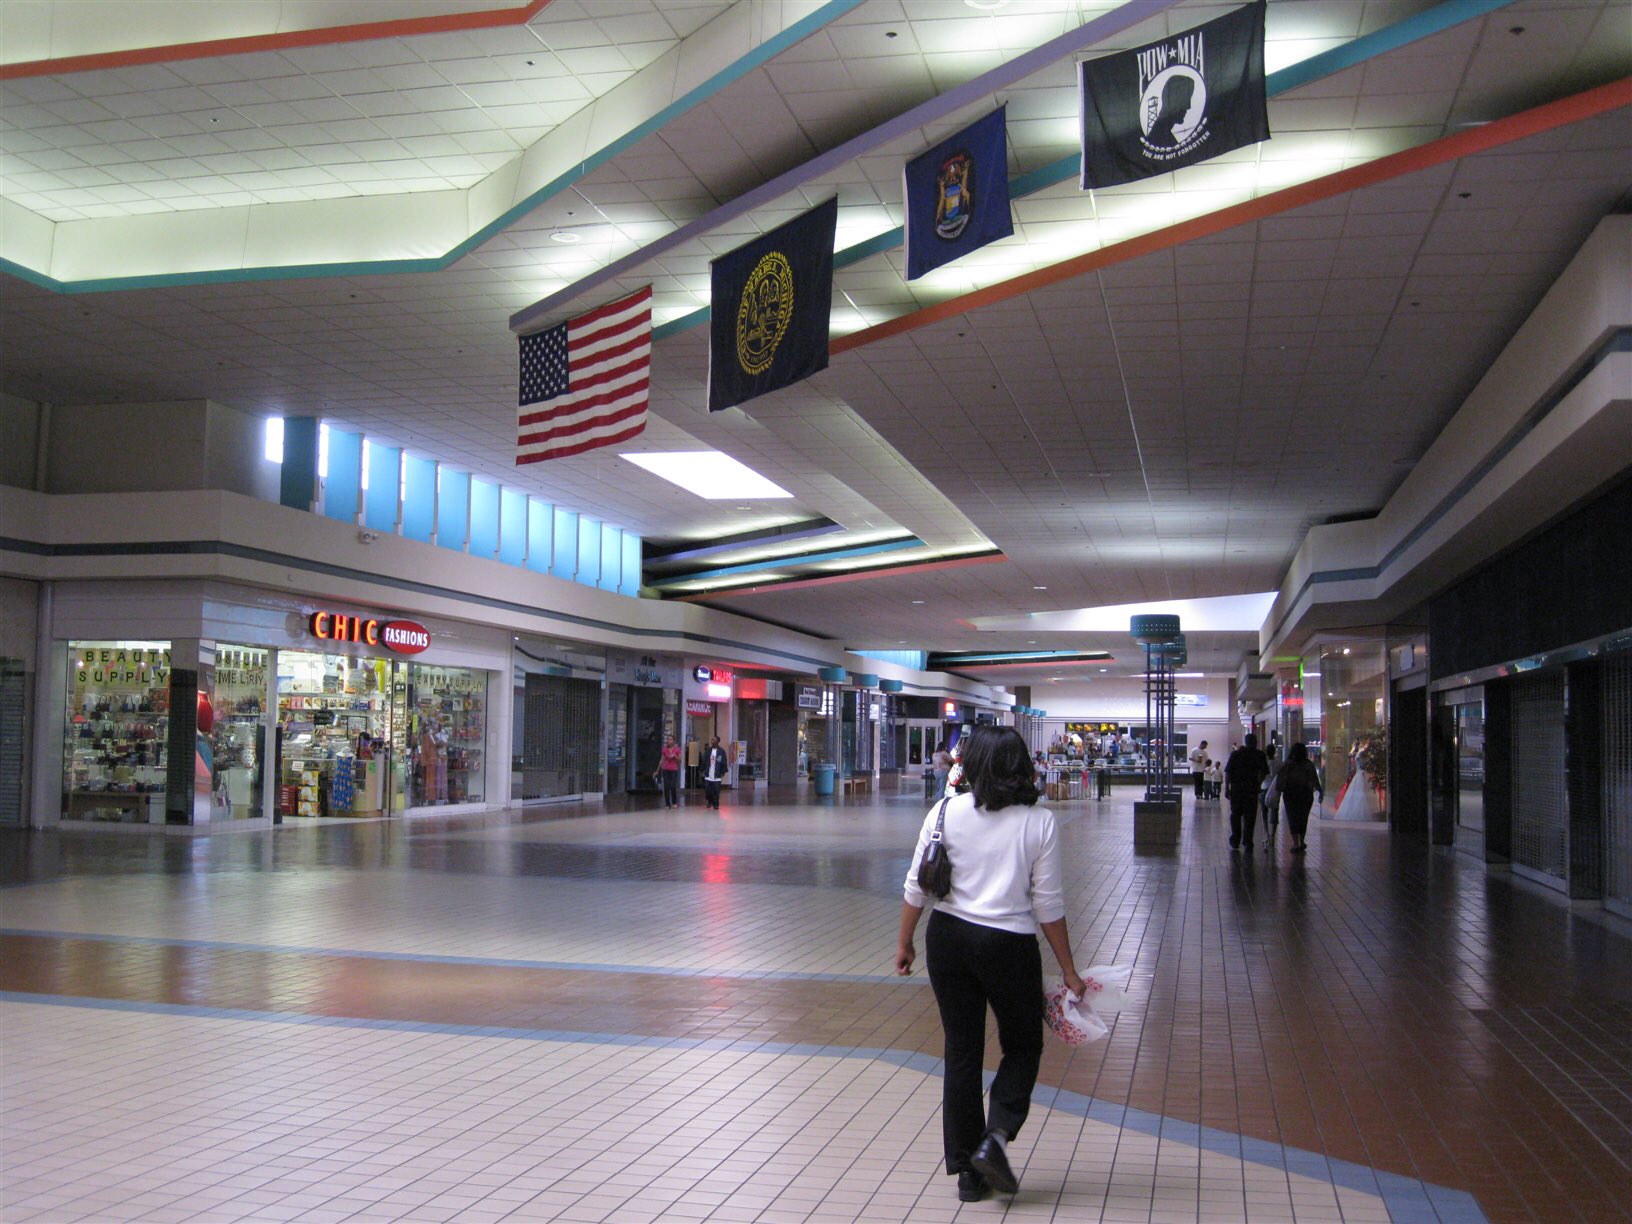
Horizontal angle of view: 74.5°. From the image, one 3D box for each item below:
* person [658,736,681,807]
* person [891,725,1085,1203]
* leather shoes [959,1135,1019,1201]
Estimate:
[{"bbox_3d":[-3.882,4.258,28.728,0.448,1.596,0.969,4,-6,-9],"label":"person"},{"bbox_3d":[0.641,1.288,4.032,0.641,1.724,0.326,2,-6,14],"label":"person"},{"bbox_3d":[0.621,2.014,3.895,0.153,0.134,0.309,5,-36,20],"label":"leather shoes"}]
